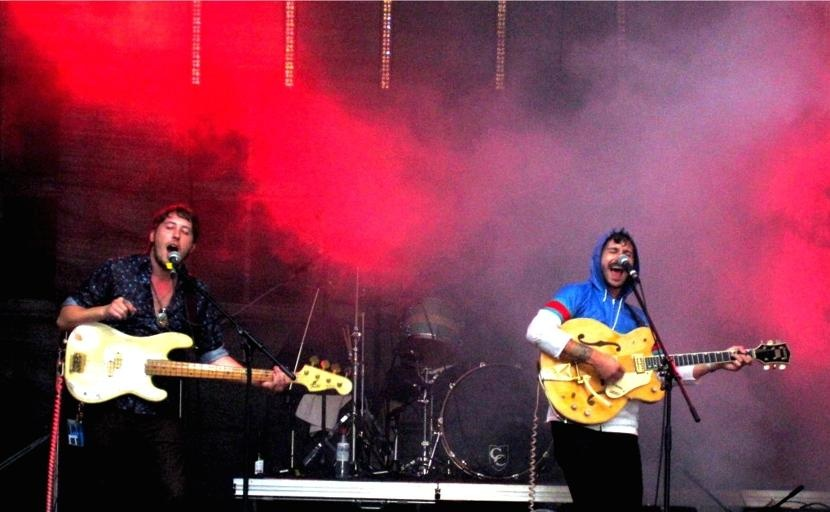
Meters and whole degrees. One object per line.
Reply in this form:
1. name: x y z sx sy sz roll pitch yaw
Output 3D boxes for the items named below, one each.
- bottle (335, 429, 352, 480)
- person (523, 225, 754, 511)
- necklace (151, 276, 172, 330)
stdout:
1. bottle: -0.728 1.995 7.803 0.159 0.493 0.195 3 -20 -5
2. person: 1.779 0.945 6.702 1.515 2.443 0.666 -3 -20 10
3. necklace: -2.309 0.456 6.841 0.083 0.338 0.179 -15 2 0
